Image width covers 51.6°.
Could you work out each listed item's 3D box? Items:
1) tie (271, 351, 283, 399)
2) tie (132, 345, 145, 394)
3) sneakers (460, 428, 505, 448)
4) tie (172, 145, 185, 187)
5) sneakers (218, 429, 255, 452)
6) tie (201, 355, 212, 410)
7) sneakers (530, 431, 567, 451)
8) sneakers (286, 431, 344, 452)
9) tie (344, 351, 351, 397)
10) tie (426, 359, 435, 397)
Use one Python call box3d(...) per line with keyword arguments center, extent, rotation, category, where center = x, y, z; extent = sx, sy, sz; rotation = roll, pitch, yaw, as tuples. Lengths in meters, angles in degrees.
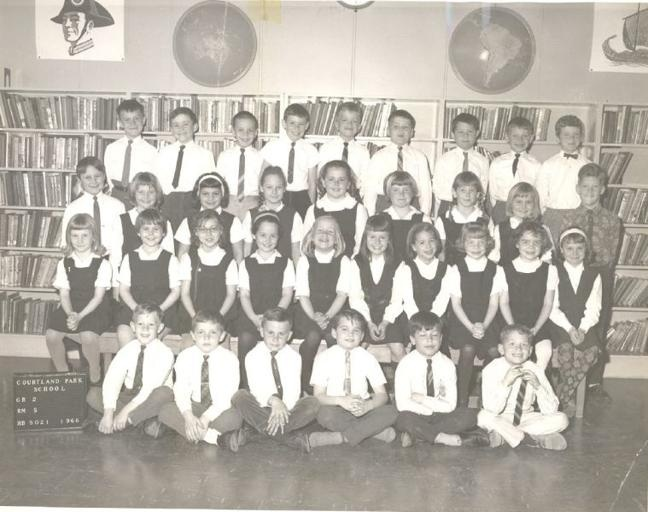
box3d(center=(-0.259, 0.663, 3.638), extent=(0.057, 0.215, 0.030), rotation=(-6, -7, -5), category="tie")
box3d(center=(-1.026, 0.634, 3.719), extent=(0.044, 0.244, 0.076), rotation=(9, 11, 41), category="tie")
box3d(center=(0.850, 0.981, 3.634), extent=(0.255, 0.113, 0.082), rotation=(-8, -3, 0), category="sneakers")
box3d(center=(-0.991, -0.609, 4.593), extent=(0.048, 0.302, 0.017), rotation=(11, -15, 3), category="tie")
box3d(center=(-0.459, 0.944, 3.502), extent=(0.138, 0.059, 0.101), rotation=(-23, 30, -29), category="sneakers")
box3d(center=(-0.639, 0.684, 3.633), extent=(0.057, 0.261, 0.085), rotation=(0, 9, -14), category="tie")
box3d(center=(1.214, 0.999, 3.583), extent=(0.131, 0.101, 0.040), rotation=(-1, 12, 3), category="sneakers")
box3d(center=(-0.034, 0.972, 3.538), extent=(0.331, 0.145, 0.108), rotation=(4, -6, -11), category="sneakers")
box3d(center=(0.133, 0.641, 3.673), extent=(0.037, 0.223, 0.059), rotation=(2, 9, 3), category="tie")
box3d(center=(0.584, 0.670, 3.674), extent=(0.044, 0.190, 0.060), rotation=(-1, 9, -19), category="tie")
